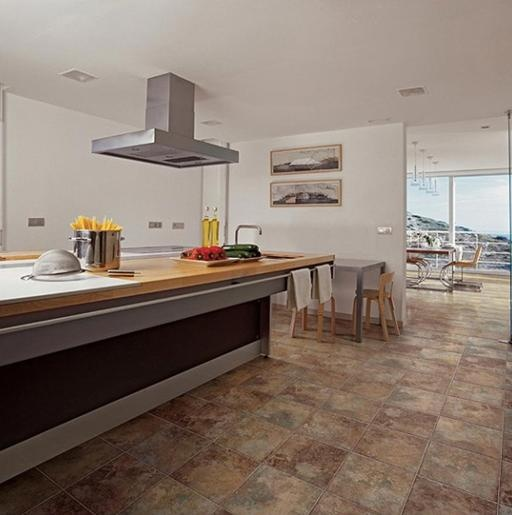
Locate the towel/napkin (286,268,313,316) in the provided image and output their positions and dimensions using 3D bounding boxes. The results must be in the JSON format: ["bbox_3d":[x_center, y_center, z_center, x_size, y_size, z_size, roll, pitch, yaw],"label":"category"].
[{"bbox_3d":[0.332,0.231,2.873,0.099,0.290,0.321,5,7,32],"label":"towel/napkin"}]

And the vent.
[{"bbox_3d":[-0.715,-1.093,3.058,0.822,0.670,0.935,4,6,33],"label":"vent"}]

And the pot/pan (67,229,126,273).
[{"bbox_3d":[-0.821,-0.029,1.993,0.195,0.188,0.262,5,5,43],"label":"pot/pan"}]

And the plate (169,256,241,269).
[{"bbox_3d":[-0.341,0.027,2.409,0.420,0.035,0.334,1,5,7],"label":"plate"}]

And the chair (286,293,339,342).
[{"bbox_3d":[0.643,0.661,4.295,0.508,0.627,0.534,-2,-3,41],"label":"chair"}]

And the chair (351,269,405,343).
[{"bbox_3d":[1.260,0.476,4.179,0.499,0.617,0.475,-1,7,-5],"label":"chair"}]
